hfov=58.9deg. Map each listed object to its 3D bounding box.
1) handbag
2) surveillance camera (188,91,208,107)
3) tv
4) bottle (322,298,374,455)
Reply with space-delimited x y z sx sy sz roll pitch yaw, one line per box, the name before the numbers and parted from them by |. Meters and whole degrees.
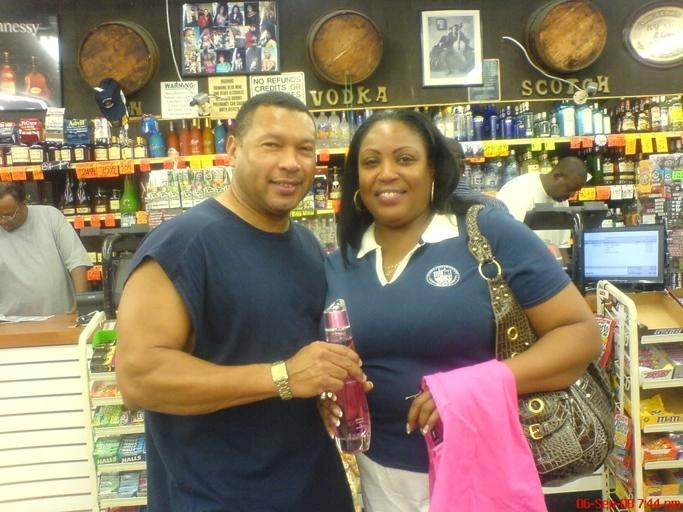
handbag | 0.851 0.481 2.434 0.488 0.788 0.274 -2 9 13
surveillance camera | -1.295 -1.406 5.456 0.154 0.058 0.110 -24 28 -25
tv | 1.997 -0.015 4.262 0.407 0.332 0.055 1 8 18
bottle | 0.042 0.521 2.508 0.127 0.701 0.215 3 11 36
